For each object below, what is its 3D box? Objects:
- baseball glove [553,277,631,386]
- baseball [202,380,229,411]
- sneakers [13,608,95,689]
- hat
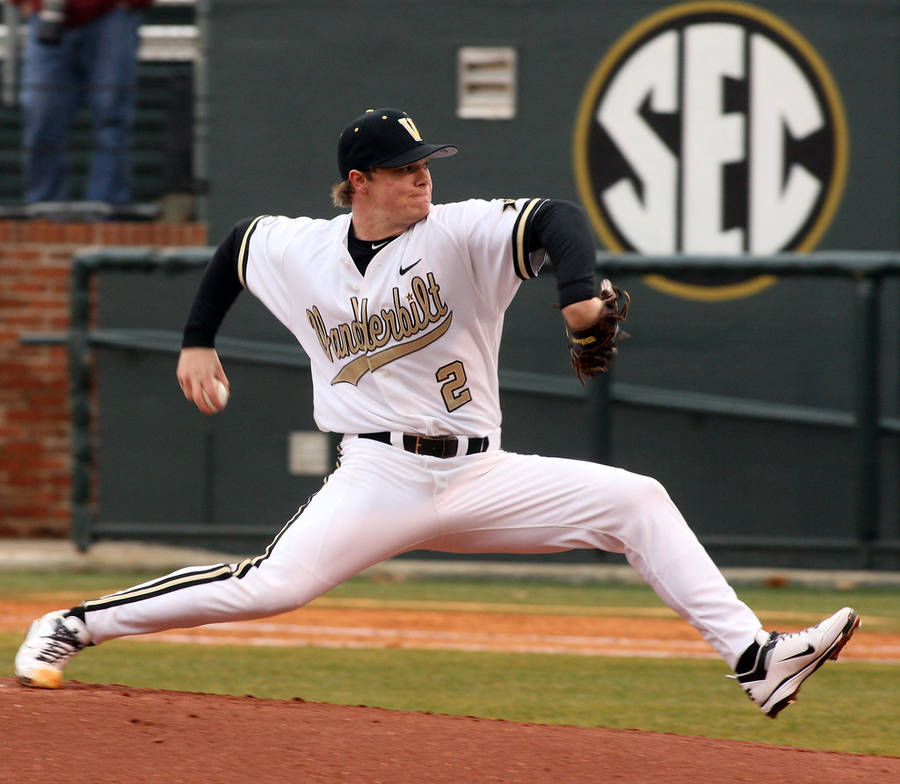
[{"bbox_3d":[0.492,-0.190,5.658,0.147,0.292,0.231,14,-7,-37],"label":"baseball glove"},{"bbox_3d":[-0.767,0.011,6.005,0.076,0.098,0.037,-2,-7,25],"label":"baseball"},{"bbox_3d":[-1.278,0.825,5.830,0.167,0.202,0.304,23,5,10],"label":"sneakers"},{"bbox_3d":[-0.182,-0.794,5.818,0.330,0.164,0.212,-14,5,20],"label":"hat"}]
